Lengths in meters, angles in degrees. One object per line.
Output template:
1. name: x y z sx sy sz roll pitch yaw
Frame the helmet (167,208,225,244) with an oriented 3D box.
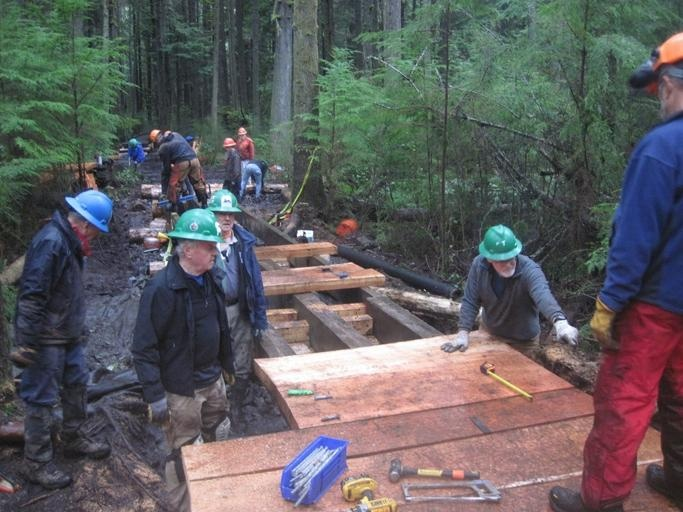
1. helmet: -1.408 -0.332 6.311 0.382 0.330 0.496 -3 17 -26

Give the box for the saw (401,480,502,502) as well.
1. saw: 0.862 1.847 5.122 0.783 0.104 0.167 -1 16 -1

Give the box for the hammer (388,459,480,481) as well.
1. hammer: 0.743 1.724 5.196 0.672 0.152 0.269 -1 -2 4

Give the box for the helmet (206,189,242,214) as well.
1. helmet: -1.437 -0.669 7.906 0.340 0.248 0.442 2 10 -22

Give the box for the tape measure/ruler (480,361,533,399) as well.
1. tape measure/ruler: 1.560 1.171 6.170 0.139 0.156 0.603 -11 19 -34

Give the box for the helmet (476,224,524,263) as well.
1. helmet: 1.589 -0.119 6.549 0.400 0.377 0.242 3 16 13

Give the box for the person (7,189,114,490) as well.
1. person: -2.813 0.808 6.631 0.737 2.929 1.147 6 8 12

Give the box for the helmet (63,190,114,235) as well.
1. helmet: -2.532 -0.486 6.693 0.394 0.447 0.480 3 23 -5
